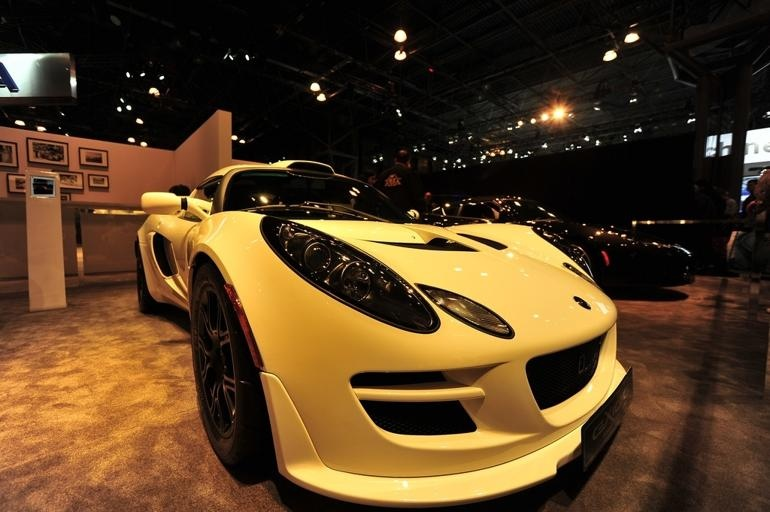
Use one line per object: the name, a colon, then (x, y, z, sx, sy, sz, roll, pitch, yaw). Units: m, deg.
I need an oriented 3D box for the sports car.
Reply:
sports car: (-0.630, 0.310, 3.381, 2.035, 1.182, 3.710, 1, 1, -42)
